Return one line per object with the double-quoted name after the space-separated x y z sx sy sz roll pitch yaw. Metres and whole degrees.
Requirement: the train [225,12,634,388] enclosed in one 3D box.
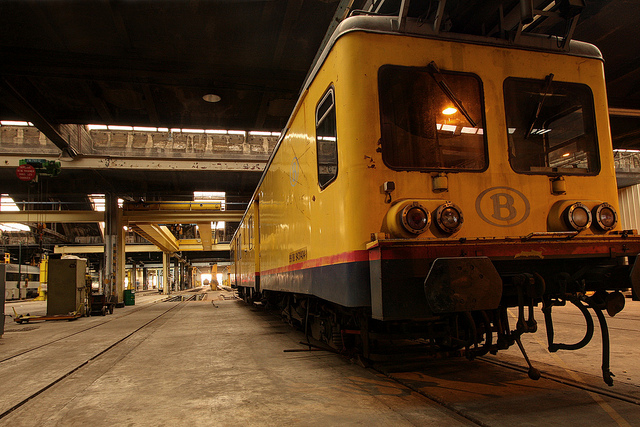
1.734 -0.266 8.681 6.224 4.540 3.520 -2 0 32 "train"
